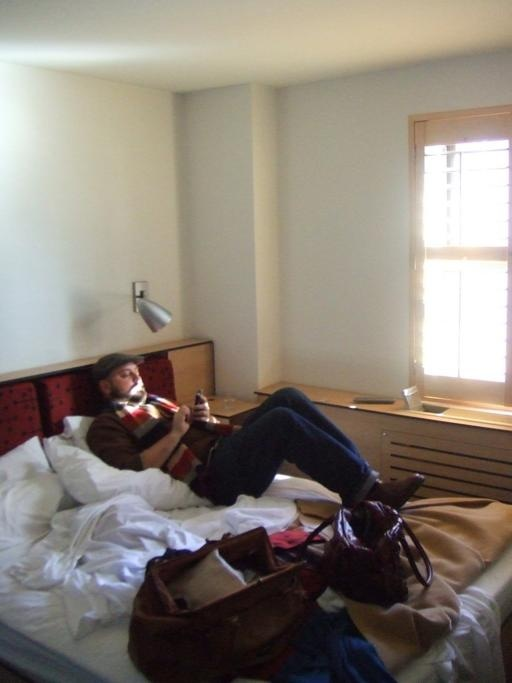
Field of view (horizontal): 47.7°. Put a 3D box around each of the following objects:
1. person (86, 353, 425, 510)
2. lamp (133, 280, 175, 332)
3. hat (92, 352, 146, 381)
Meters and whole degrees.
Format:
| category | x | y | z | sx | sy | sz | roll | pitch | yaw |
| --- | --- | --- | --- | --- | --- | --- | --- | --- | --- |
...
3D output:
| category | x | y | z | sx | sy | sz | roll | pitch | yaw |
| --- | --- | --- | --- | --- | --- | --- | --- | --- | --- |
| person | -0.019 | 0.267 | 2.376 | 1.306 | 0.592 | 0.612 | 0 | 3 | 18 |
| lamp | -0.580 | -0.170 | 3.192 | 0.190 | 0.290 | 0.533 | -4 | 13 | -12 |
| hat | -0.613 | 0.104 | 2.555 | 0.152 | 0.081 | 0.120 | -35 | 4 | 13 |
